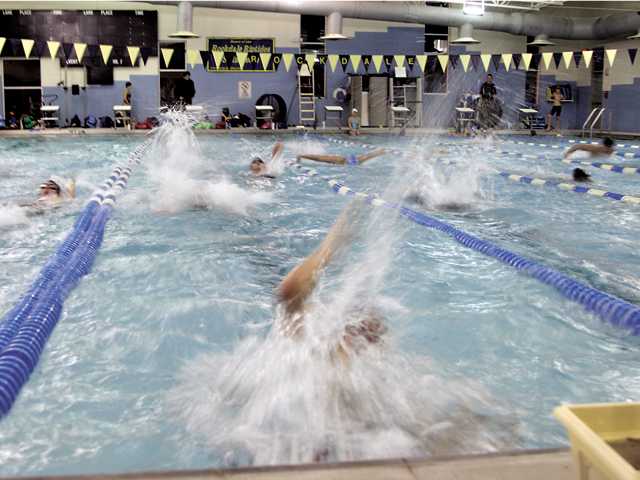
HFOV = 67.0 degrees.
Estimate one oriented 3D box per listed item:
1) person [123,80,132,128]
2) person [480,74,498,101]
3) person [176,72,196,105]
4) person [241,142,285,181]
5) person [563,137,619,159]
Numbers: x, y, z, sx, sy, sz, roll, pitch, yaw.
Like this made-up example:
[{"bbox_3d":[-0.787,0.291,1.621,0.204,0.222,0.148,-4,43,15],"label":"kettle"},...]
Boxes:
[{"bbox_3d":[-5.402,-3.802,13.531,0.274,1.304,1.170,-4,14,-21],"label":"person"},{"bbox_3d":[4.839,-4.426,13.932,0.359,0.706,0.733,4,13,16],"label":"person"},{"bbox_3d":[-3.837,-4.264,13.623,0.573,0.840,0.762,-3,13,-14],"label":"person"},{"bbox_3d":[-0.853,-1.241,7.393,0.526,0.455,1.593,-1,13,-6],"label":"person"},{"bbox_3d":[5.556,-1.899,9.900,0.766,0.339,3.016,8,15,29],"label":"person"}]
